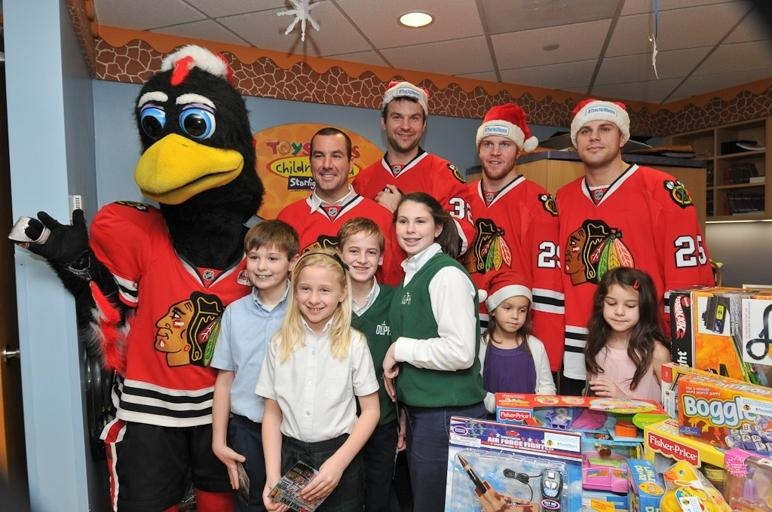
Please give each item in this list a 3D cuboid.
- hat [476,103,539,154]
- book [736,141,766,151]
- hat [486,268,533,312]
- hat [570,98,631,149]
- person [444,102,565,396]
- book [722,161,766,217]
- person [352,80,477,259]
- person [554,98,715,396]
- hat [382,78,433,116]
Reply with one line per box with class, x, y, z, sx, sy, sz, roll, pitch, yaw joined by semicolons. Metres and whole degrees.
hat;0.713;-0.753;3.493;0.378;0.304;0.292;1;14;17
book;3.210;-0.968;5.178;0.165;0.038;0.151;-5;19;-20
hat;0.628;0.175;3.090;0.192;0.223;0.248;3;7;-13
hat;1.245;-0.734;3.173;0.296;0.199;0.292;7;6;-40
person;0.663;0.067;3.450;0.727;1.815;0.575;8;26;32
book;3.213;-0.616;5.242;0.313;0.498;0.222;-1;-3;32
person;0.100;-0.443;3.245;0.789;1.056;0.534;4;12;27
person;1.286;0.198;3.155;0.795;2.130;0.448;1;3;40
hat;0.117;-0.880;3.304;0.281;0.170;0.314;5;3;3
